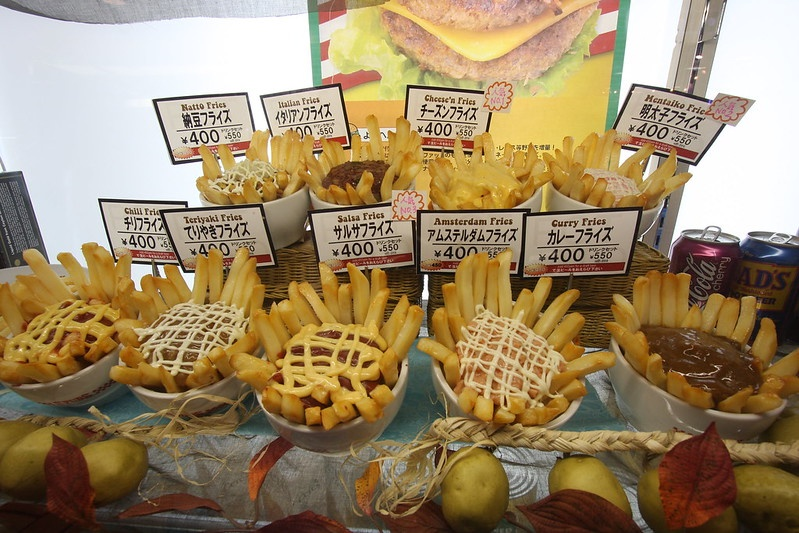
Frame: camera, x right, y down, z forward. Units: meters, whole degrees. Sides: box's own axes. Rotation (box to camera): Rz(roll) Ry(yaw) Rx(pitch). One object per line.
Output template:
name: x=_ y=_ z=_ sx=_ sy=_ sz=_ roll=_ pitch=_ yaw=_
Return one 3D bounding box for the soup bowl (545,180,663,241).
soup bowl: x=0.830 y=-0.284 z=1.877 sx=0.320 sy=0.169 sz=0.314 roll=2 pitch=18 yaw=-1

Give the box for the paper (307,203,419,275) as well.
paper: x=-0.138 y=-0.117 z=1.857 sx=0.348 sy=0.225 sz=0.007 roll=-3 pitch=28 yaw=1

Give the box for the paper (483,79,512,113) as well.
paper: x=0.469 y=-0.818 z=2.219 sx=0.133 sy=0.141 sz=0.100 roll=1 pitch=22 yaw=7

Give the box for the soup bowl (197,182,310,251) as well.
soup bowl: x=-0.526 y=-0.208 z=1.876 sx=0.347 sy=0.181 sz=0.344 roll=-2 pitch=12 yaw=1

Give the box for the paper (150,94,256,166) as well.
paper: x=-0.959 y=-0.658 z=2.333 sx=0.526 sy=0.347 sz=0.361 roll=-6 pitch=16 yaw=-12

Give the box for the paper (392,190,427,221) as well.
paper: x=0.037 y=-0.243 z=1.828 sx=0.133 sy=0.103 sz=0.009 roll=0 pitch=8 yaw=-4

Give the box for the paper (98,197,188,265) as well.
paper: x=-1.112 y=-0.149 z=2.016 sx=0.338 sy=0.228 sz=0.006 roll=9 pitch=32 yaw=7

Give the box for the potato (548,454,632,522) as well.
potato: x=0.586 y=0.696 z=1.492 sx=0.242 sy=0.177 sz=0.166 roll=12 pitch=61 yaw=12

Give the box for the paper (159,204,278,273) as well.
paper: x=-0.732 y=-0.121 z=1.917 sx=0.340 sy=0.221 sz=0.007 roll=-5 pitch=31 yaw=5

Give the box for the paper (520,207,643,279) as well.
paper: x=0.719 y=-0.098 z=1.835 sx=0.334 sy=0.216 sz=0.014 roll=-1 pitch=24 yaw=3

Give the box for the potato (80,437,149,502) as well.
potato: x=-0.941 y=0.686 z=1.553 sx=0.173 sy=0.182 sz=0.123 roll=-16 pitch=26 yaw=-30

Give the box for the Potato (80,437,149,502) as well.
Potato: x=-0.959 y=0.681 z=1.606 sx=0.163 sy=0.161 sz=0.220 roll=-10 pitch=0 yaw=32
